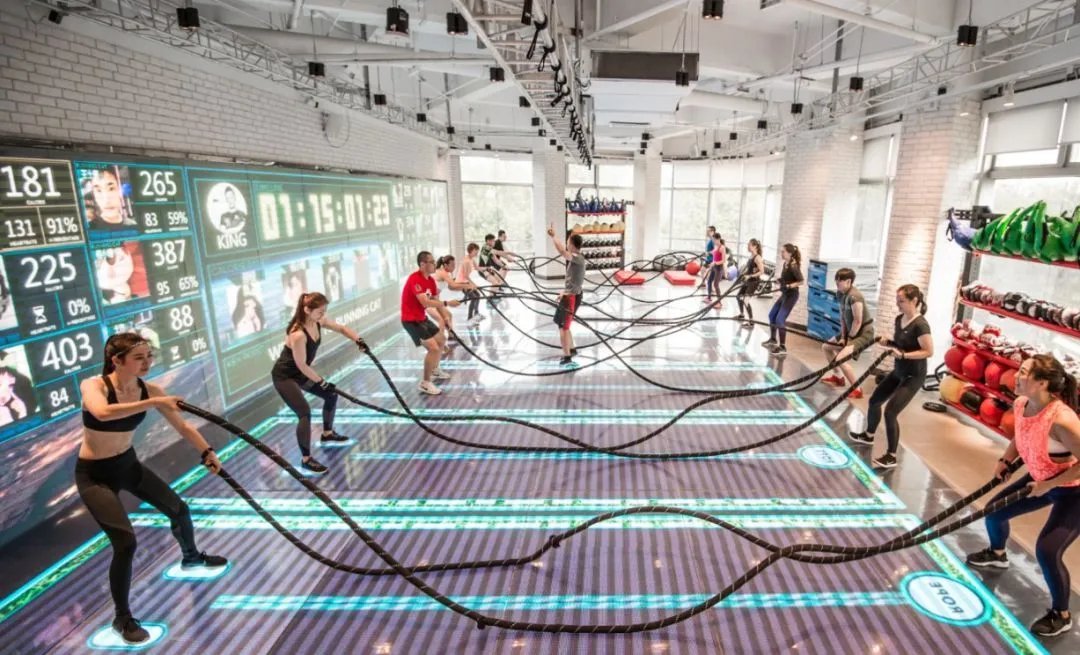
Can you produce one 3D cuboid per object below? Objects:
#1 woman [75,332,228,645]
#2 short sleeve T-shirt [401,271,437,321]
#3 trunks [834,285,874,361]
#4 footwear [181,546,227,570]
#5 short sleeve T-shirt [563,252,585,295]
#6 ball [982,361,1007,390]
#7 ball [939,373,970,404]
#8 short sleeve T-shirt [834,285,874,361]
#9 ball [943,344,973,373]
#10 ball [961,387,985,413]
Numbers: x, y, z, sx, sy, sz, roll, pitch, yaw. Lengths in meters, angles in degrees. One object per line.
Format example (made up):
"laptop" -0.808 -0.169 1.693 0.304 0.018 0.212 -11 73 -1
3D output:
"woman" -4.103 1.559 5.845 1.021 2.982 0.966 -14 21 -40
"short sleeve T-shirt" -1.954 -0.513 9.081 0.557 0.803 0.385 -6 17 -20
"trunks" 4.765 -0.141 8.545 0.568 0.871 0.797 -5 8 11
"footwear" -3.724 2.540 6.299 0.500 0.208 0.211 3 -1 -13
"short sleeve T-shirt" 0.601 -0.967 10.059 0.330 0.735 0.421 3 16 11
"ball" 6.383 0.674 8.020 0.314 0.314 0.391 9 -24 32
"ball" 6.216 0.934 8.555 0.396 0.372 0.376 -40 1 1
"short sleeve T-shirt" 4.741 -0.128 8.544 0.590 0.847 0.782 -5 8 12
"ball" 6.259 0.473 8.511 0.364 0.429 0.358 -4 2 0
"ball" 6.282 1.057 8.215 0.161 0.322 0.238 6 2 -8
